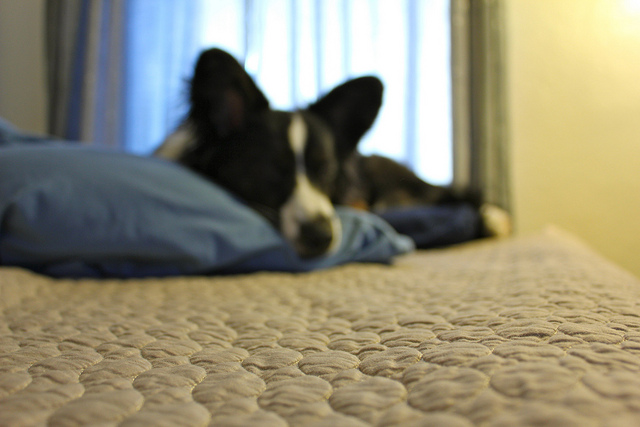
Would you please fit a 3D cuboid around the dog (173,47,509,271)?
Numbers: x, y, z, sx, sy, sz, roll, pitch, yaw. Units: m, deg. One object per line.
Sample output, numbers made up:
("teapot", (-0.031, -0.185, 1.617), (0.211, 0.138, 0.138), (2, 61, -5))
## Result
("dog", (0.051, -0.219, 2.179), (0.864, 0.417, 0.934), (7, -4, -42))
